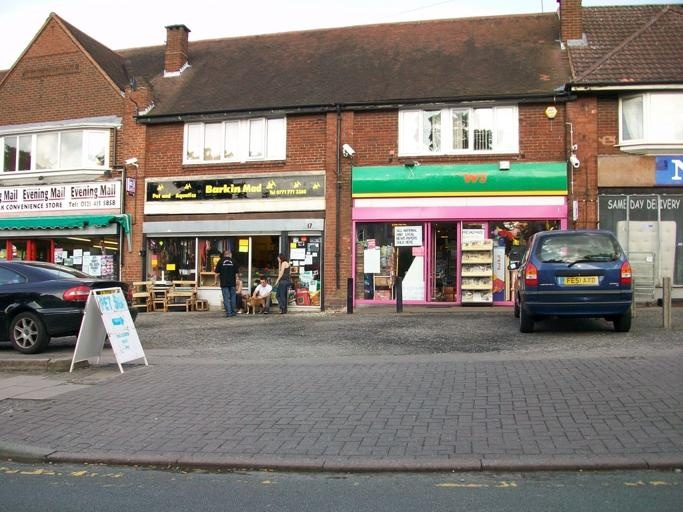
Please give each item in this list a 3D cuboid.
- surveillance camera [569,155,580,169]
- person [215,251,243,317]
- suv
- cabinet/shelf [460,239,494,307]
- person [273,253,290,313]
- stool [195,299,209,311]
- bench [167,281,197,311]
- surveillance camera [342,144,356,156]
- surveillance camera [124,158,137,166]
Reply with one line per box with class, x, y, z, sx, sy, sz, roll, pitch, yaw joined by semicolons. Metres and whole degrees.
surveillance camera;6.451;-2.659;21.491;0.289;0.353;0.117;9;-26;-25
person;-3.219;0.794;21.796;0.534;1.685;1.315;-4;11;-9
suv;4.610;0.310;15.565;1.613;1.165;2.538;-1;3;9
cabinet/shelf;3.831;0.433;22.006;0.889;1.817;0.524;-2;11;3
person;-1.706;0.758;22.412;0.455;1.833;1.170;-3;11;-4
stool;-4.299;1.496;23.700;0.417;0.370;0.340;-1;-4;3
bench;-4.885;1.191;23.689;0.811;0.677;0.962;0;-2;-2
surveillance camera;0.222;-3.079;22.529;0.397;0.396;0.442;-2;10;-2
surveillance camera;-6.638;-2.985;24.368;0.375;0.253;0.465;-3;10;-7
